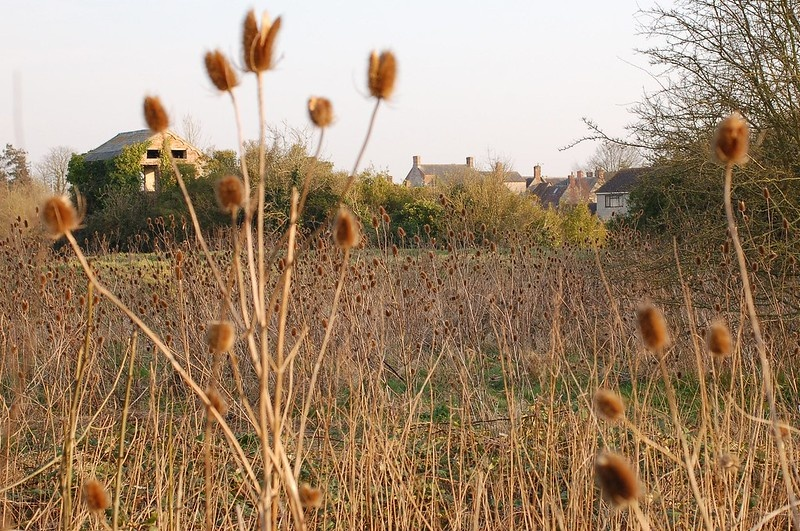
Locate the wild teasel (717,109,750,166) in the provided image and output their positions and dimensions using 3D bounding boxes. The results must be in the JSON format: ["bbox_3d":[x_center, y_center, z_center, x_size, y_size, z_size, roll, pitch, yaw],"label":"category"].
[{"bbox_3d":[2.335,-0.908,7.099,0.255,0.360,0.109,13,1,-10],"label":"wild teasel"}]

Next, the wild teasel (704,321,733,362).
[{"bbox_3d":[2.261,0.534,7.123,0.136,0.274,0.193,-7,-3,21],"label":"wild teasel"}]

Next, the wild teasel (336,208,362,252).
[{"bbox_3d":[-0.379,-0.256,7.070,0.143,0.295,0.119,-3,6,-1],"label":"wild teasel"}]

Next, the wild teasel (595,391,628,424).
[{"bbox_3d":[1.455,0.972,7.002,0.199,0.209,0.236,1,-2,11],"label":"wild teasel"}]

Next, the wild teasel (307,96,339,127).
[{"bbox_3d":[-0.562,-1.093,7.105,0.160,0.240,0.252,2,-2,-12],"label":"wild teasel"}]

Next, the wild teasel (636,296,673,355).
[{"bbox_3d":[1.757,0.428,6.995,0.142,0.477,0.334,-18,2,8],"label":"wild teasel"}]

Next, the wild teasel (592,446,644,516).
[{"bbox_3d":[1.455,1.511,6.847,0.425,0.136,0.542,28,26,7],"label":"wild teasel"}]
